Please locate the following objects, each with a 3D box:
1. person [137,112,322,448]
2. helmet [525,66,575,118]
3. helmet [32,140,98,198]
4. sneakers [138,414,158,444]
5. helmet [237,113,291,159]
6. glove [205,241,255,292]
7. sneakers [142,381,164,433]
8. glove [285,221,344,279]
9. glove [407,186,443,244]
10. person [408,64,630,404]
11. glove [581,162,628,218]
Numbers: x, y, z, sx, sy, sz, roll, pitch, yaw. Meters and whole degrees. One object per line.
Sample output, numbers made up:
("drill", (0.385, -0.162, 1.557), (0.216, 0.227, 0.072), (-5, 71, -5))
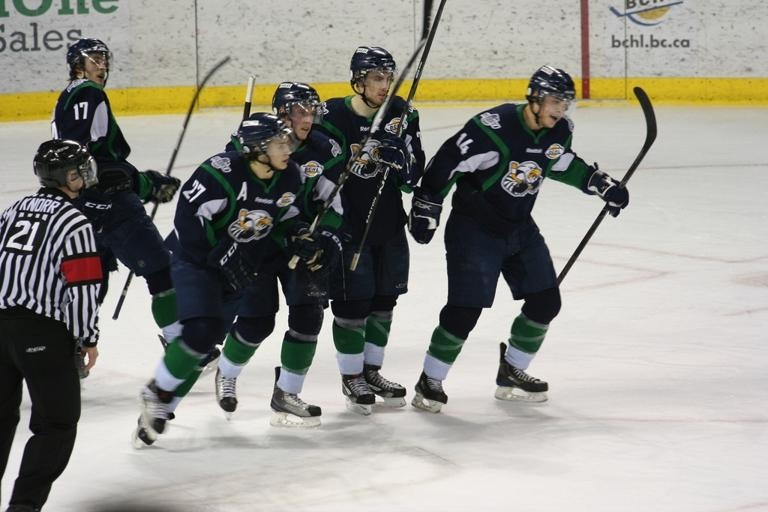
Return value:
("person", (-0.762, 0.125, 3.876), (0.833, 1.620, 0.379), (0, 17, -16))
("helmet", (0.886, -0.865, 4.237), (0.251, 0.254, 0.211), (6, 14, 6))
("helmet", (-1.293, -0.380, 3.396), (0.286, 0.224, 0.218), (-24, 40, -39))
("sneakers", (-1.137, 0.849, 3.918), (0.119, 0.108, 0.086), (-2, 38, -4))
("helmet", (-0.564, -0.557, 3.755), (0.290, 0.179, 0.196), (5, 18, 12))
("glove", (-0.728, 0.044, 3.840), (0.202, 0.239, 0.078), (8, 16, 16))
("sneakers", (-1.090, 0.715, 3.849), (0.141, 0.238, 0.103), (-2, -5, 38))
("glove", (-0.334, -0.026, 3.961), (0.091, 0.270, 0.256), (63, 10, 29))
("glove", (0.228, -0.215, 4.396), (0.220, 0.269, 0.125), (20, 12, 16))
("person", (0.561, -0.079, 4.300), (0.857, 1.857, 0.517), (5, 16, -1))
("glove", (1.284, -0.370, 4.629), (0.342, 0.132, 0.280), (33, 2, -5))
